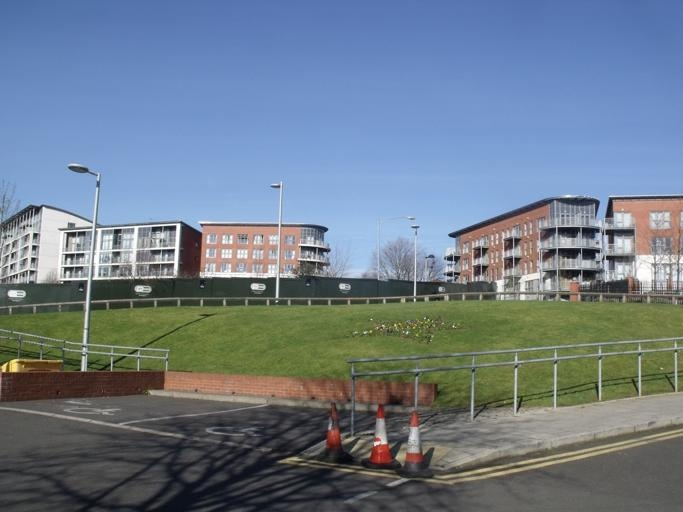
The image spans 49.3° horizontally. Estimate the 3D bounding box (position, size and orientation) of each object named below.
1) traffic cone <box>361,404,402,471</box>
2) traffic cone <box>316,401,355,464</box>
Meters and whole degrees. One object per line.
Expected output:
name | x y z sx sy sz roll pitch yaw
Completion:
traffic cone | 0.758 3.531 14.472 0.668 1.098 0.662 1 -2 -4
traffic cone | -0.108 3.520 14.930 0.759 1.088 0.591 1 -5 2
